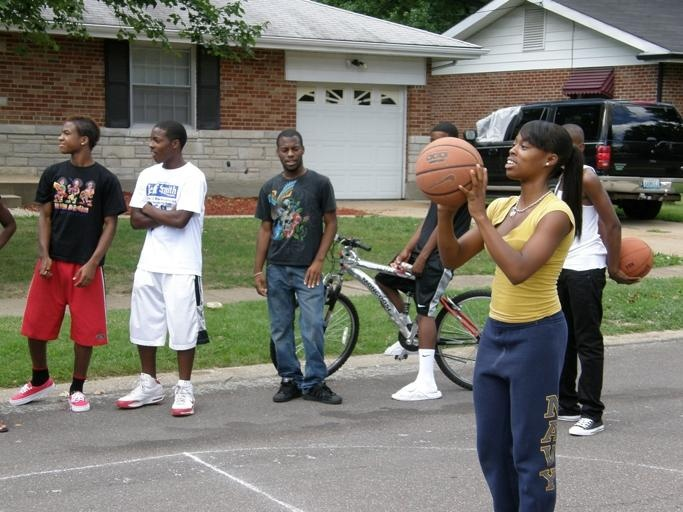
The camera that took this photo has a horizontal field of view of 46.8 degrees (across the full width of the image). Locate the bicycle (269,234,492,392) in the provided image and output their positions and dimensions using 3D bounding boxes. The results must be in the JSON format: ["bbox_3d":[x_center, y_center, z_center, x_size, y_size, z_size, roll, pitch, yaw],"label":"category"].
[{"bbox_3d":[0.623,0.536,7.902,2.526,1.217,1.151,3,0,-6],"label":"bicycle"}]

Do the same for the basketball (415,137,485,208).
[{"bbox_3d":[0.651,-0.512,4.785,0.417,0.382,0.366,-2,13,0],"label":"basketball"}]

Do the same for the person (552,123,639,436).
[{"bbox_3d":[2.081,0.214,6.907,1.239,2.392,0.846,0,1,16],"label":"person"}]

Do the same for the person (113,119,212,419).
[{"bbox_3d":[-1.221,0.091,6.763,1.115,2.226,1.014,7,16,-19],"label":"person"}]

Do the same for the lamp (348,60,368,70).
[{"bbox_3d":[0.415,-4.941,20.278,0.483,0.244,0.183,-1,13,-10],"label":"lamp"}]

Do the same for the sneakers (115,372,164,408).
[{"bbox_3d":[-1.676,1.186,6.824,0.516,0.274,0.193,2,-3,-30],"label":"sneakers"}]

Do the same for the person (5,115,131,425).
[{"bbox_3d":[-2.244,0.049,6.716,0.777,2.417,0.749,4,14,9],"label":"person"}]

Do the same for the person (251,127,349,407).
[{"bbox_3d":[-0.412,0.081,7.040,0.714,2.372,0.766,0,14,-6],"label":"person"}]
